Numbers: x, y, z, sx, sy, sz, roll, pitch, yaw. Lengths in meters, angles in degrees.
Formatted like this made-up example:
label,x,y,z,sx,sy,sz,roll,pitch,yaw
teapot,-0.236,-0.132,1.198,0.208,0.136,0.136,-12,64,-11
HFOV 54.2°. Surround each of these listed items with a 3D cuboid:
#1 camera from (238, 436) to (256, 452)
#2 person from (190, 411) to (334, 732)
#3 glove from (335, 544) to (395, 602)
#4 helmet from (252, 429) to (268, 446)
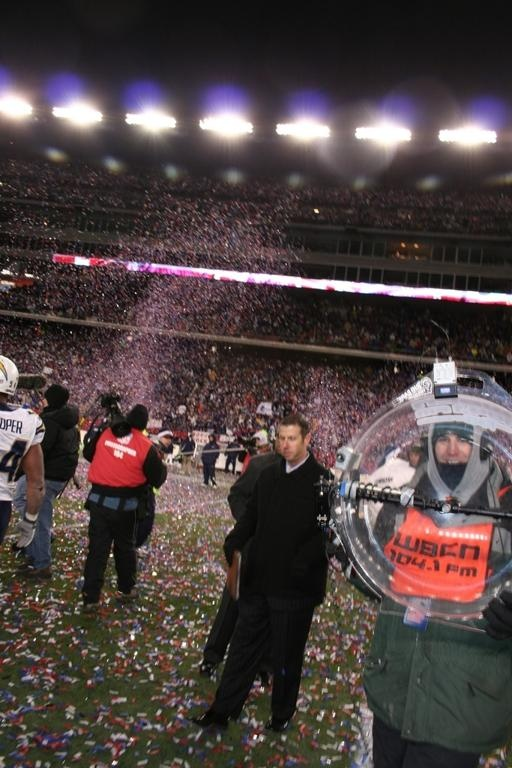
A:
label,x,y,z,sx,sy,sz,roll,pitch,yaw
camera,-0.202,1.349,11.412,0.486,0.280,0.672,2,5,-2
person,0.095,1.057,2.814,0.595,1.715,0.483,7,-3,13
glove,0.214,0.384,1.013,0.114,0.119,0.030,35,-9,-21
helmet,0.166,1.454,13.832,0.373,0.521,0.517,3,-24,9
